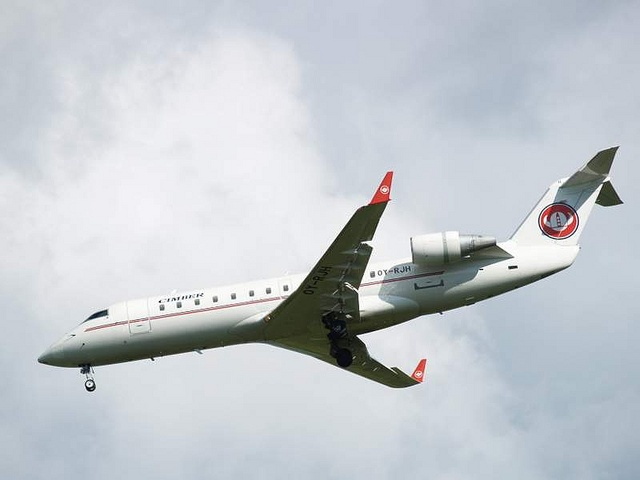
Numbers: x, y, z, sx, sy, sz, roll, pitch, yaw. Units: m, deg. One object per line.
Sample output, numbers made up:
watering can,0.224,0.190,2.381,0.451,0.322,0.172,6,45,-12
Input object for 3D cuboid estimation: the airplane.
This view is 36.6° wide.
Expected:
airplane,0.133,1.645,32.238,18.467,5.346,13.738,-7,-30,4
